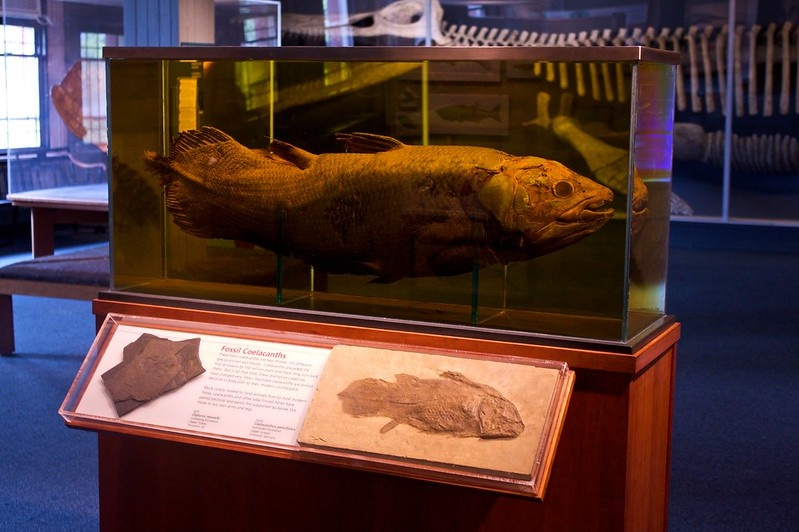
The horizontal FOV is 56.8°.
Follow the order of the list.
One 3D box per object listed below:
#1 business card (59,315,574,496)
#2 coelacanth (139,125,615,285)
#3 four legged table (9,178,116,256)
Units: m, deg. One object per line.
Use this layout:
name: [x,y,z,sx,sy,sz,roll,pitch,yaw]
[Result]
business card: [-0.235,0.378,2.102,1.412,0.325,0.214,3,14,14]
coelacanth: [-0.064,-0.311,2.310,1.322,0.505,0.485,7,17,9]
four legged table: [-2.094,-0.374,4.778,0.572,0.582,0.510,1,15,0]
